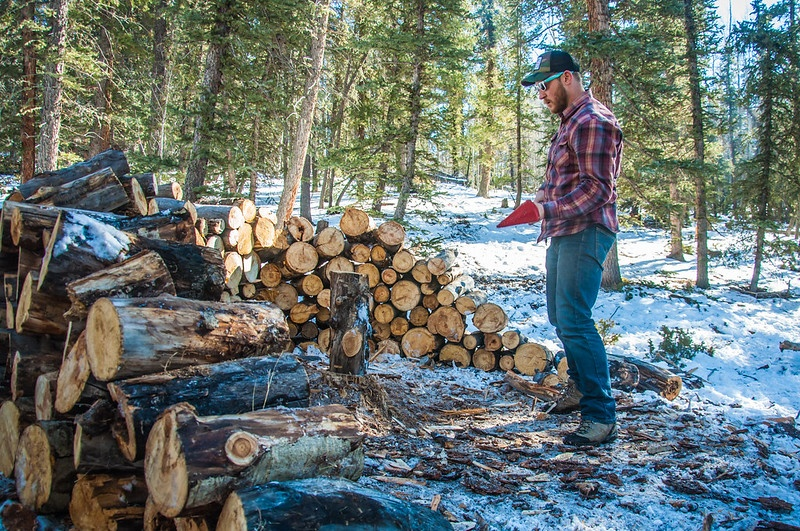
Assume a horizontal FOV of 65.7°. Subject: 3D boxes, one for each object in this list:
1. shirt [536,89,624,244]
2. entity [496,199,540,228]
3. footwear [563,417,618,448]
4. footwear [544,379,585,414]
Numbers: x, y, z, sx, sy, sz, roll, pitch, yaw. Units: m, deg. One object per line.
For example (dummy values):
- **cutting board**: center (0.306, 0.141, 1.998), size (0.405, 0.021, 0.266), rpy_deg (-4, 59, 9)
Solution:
- **shirt**: center (2.382, -1.295, 8.469), size (1.158, 2.043, 2.193), rpy_deg (2, 5, 7)
- **entity**: center (1.486, -0.641, 7.682), size (0.497, 0.331, 0.314), rpy_deg (3, 2, 10)
- **footwear**: center (2.420, 2.133, 7.826), size (0.705, 0.343, 0.270), rpy_deg (2, -9, -7)
- **footwear**: center (2.305, 1.806, 8.604), size (0.711, 0.419, 0.234), rpy_deg (-14, 16, 17)
